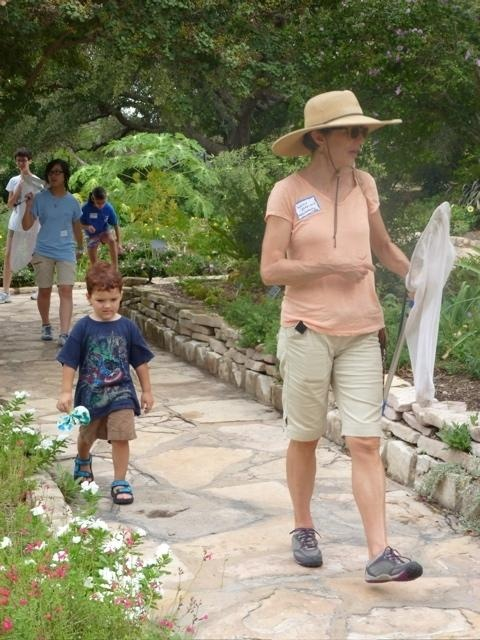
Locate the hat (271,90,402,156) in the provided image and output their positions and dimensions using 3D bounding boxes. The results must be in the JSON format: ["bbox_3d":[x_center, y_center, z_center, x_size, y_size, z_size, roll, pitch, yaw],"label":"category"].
[{"bbox_3d":[0.306,-0.788,2.598,0.411,0.136,0.359,-9,0,37],"label":"hat"}]

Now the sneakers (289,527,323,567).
[{"bbox_3d":[0.281,0.955,2.658,0.094,0.067,0.186,0,-4,-7],"label":"sneakers"}]

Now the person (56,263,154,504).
[{"bbox_3d":[-0.715,0.331,3.411,0.484,1.275,0.598,1,4,-8],"label":"person"}]

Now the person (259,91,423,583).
[{"bbox_3d":[0.418,0.053,2.615,0.721,1.988,0.620,3,4,27],"label":"person"}]

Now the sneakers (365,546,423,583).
[{"bbox_3d":[0.545,0.895,2.329,0.269,0.110,0.090,-16,-11,35],"label":"sneakers"}]

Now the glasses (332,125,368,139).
[{"bbox_3d":[0.429,-0.740,2.511,0.074,0.027,0.093,-8,12,-44],"label":"glasses"}]

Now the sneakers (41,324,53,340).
[{"bbox_3d":[-2.463,0.164,8.105,0.096,0.101,0.257,-4,19,-20],"label":"sneakers"}]

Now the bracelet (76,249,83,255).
[{"bbox_3d":[-1.977,-0.844,7.840,0.061,0.047,0.055,2,7,-14],"label":"bracelet"}]

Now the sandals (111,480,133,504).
[{"bbox_3d":[-0.635,0.912,3.439,0.120,0.115,0.166,1,3,-11],"label":"sandals"}]
